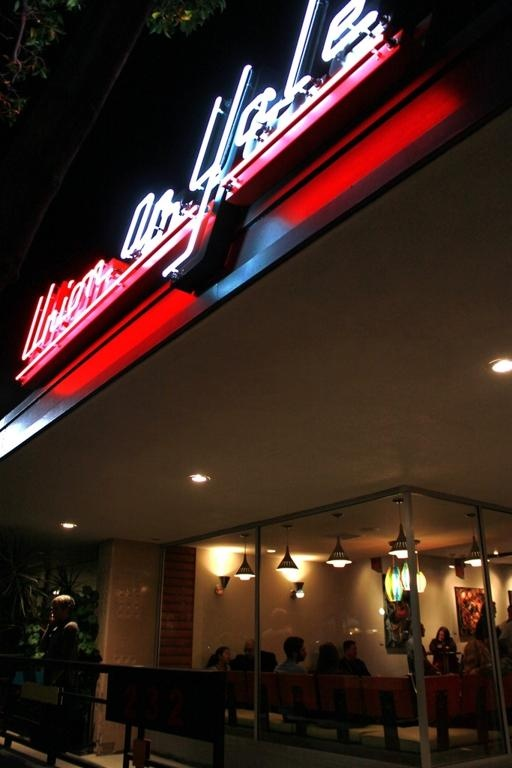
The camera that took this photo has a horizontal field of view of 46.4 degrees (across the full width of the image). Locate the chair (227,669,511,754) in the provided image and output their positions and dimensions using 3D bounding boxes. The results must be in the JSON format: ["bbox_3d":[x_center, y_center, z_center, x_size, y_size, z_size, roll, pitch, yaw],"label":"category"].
[{"bbox_3d":[0.893,2.925,5.429,2.238,0.612,0.990,-19,-28,37],"label":"chair"}]
